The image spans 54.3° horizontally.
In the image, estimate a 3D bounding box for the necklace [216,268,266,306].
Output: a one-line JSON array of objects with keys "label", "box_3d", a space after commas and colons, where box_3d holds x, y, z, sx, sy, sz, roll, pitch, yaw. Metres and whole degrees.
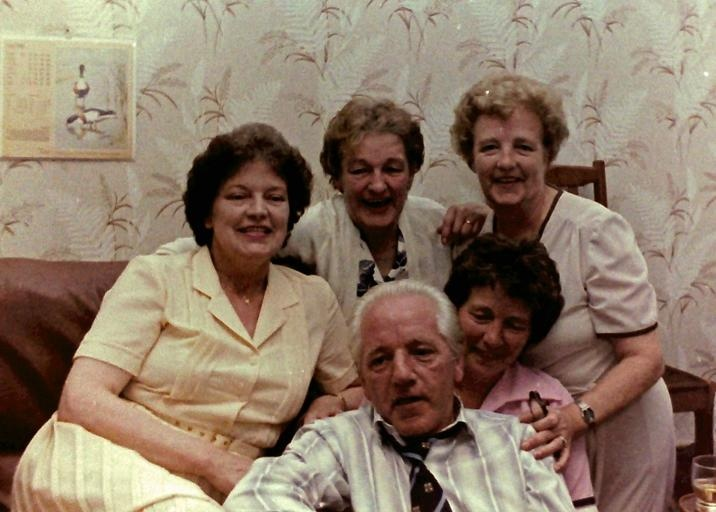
[{"label": "necklace", "box_3d": [-0.404, 0.111, 2.434, 0.121, 0.126, 0.153, 2, 6, 17]}]

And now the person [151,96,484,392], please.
[{"label": "person", "box_3d": [0.084, 0.124, 2.887, 1.562, 1.495, 0.398, -7, 11, -11]}]

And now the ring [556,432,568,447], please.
[{"label": "ring", "box_3d": [0.649, 0.592, 2.215, 0.025, 0.033, 0.034, 4, -9, 2]}]

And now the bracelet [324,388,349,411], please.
[{"label": "bracelet", "box_3d": [-0.081, 0.516, 2.505, 0.055, 0.046, 0.061, 11, -18, 22]}]

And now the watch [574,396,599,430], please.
[{"label": "watch", "box_3d": [0.772, 0.529, 2.352, 0.058, 0.096, 0.089, -21, -14, -14]}]
